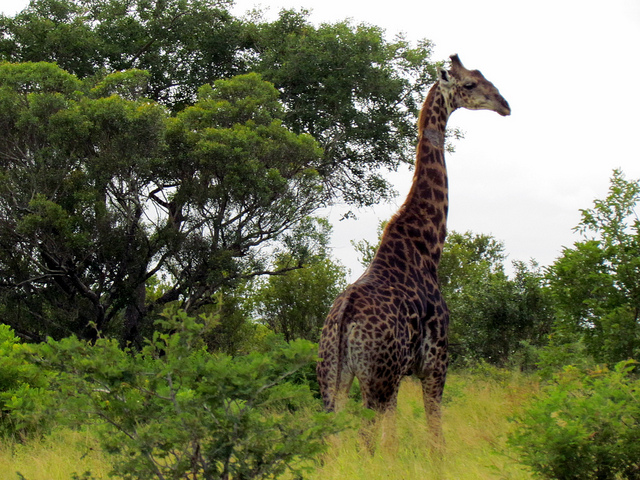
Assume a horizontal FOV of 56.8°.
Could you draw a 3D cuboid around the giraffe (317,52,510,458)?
[{"bbox_3d":[1.302,-0.187,8.659,2.137,6.380,0.991,18,-24,-23],"label":"giraffe"}]
